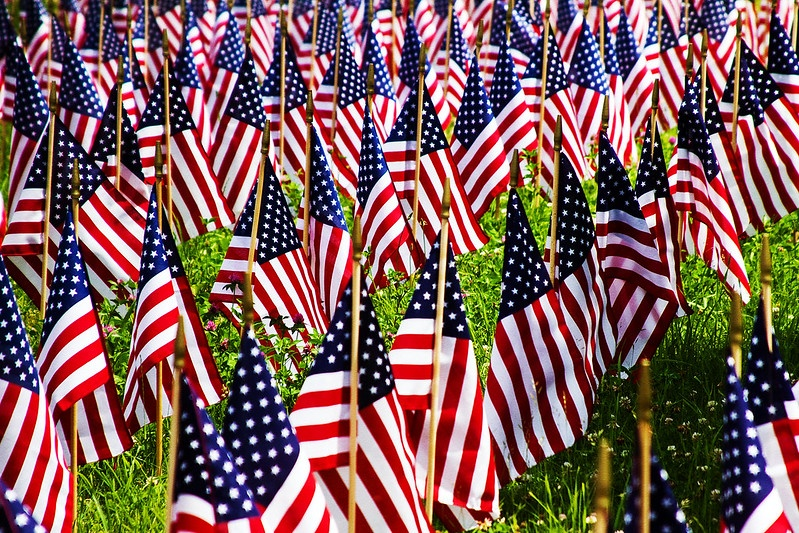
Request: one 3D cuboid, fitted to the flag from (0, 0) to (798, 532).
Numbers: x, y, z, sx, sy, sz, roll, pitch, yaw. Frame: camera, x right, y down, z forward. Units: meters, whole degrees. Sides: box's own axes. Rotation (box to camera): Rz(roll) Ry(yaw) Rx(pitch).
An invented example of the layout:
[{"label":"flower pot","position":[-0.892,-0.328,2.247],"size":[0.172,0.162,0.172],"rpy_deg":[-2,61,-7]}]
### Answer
[{"label":"flag","position":[0.029,0.049,13.107],"size":[6.134,0.245,5.806],"rpy_deg":[-3,40,3]}]
